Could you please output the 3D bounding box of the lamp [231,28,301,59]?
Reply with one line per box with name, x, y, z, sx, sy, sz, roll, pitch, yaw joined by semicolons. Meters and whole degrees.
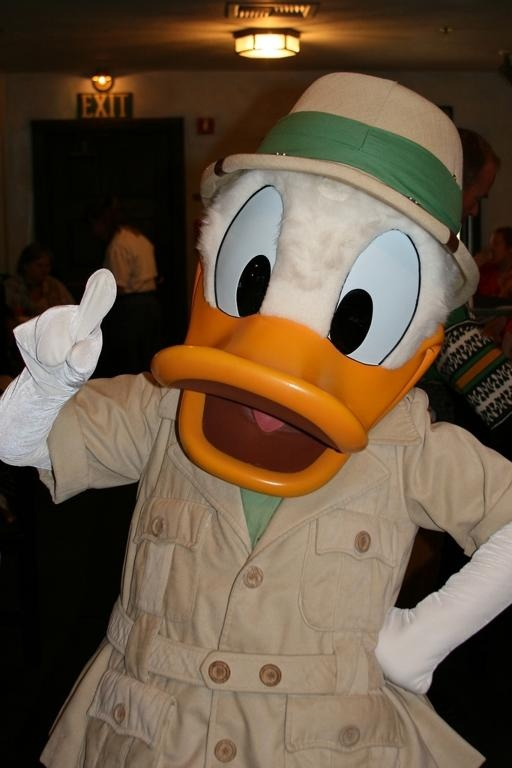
lamp;0.064;-2.674;5.870;0.518;0.194;0.355;7;18;0
